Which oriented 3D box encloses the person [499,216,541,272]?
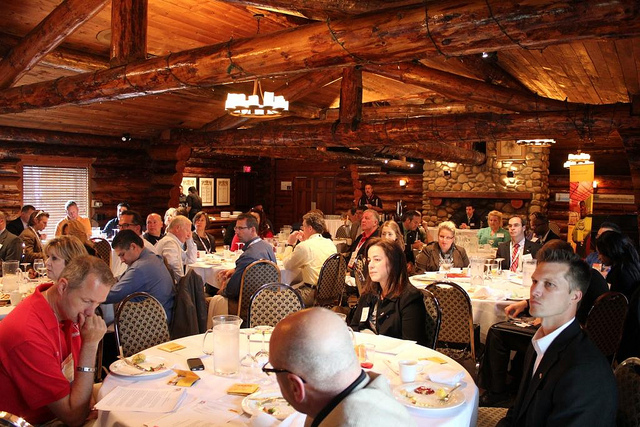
[{"bbox_3d":[3.001,0.473,6.384,0.343,0.954,0.493,29,-30,-18],"label":"person"}]

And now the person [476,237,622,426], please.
[{"bbox_3d":[1.363,0.723,2.397,0.496,1.031,0.518,0,-1,21],"label":"person"}]

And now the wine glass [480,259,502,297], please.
[{"bbox_3d":[2.013,0.761,5.138,0.290,0.315,0.926,1,6,22],"label":"wine glass"}]

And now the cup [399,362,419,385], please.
[{"bbox_3d":[0.545,0.968,2.541,0.137,0.087,0.087,8,-11,-44],"label":"cup"}]

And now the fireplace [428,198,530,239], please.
[{"bbox_3d":[5.250,-0.031,14.477,3.023,1.007,0.868,-1,-1,36],"label":"fireplace"}]

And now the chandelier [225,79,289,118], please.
[{"bbox_3d":[-0.976,-1.848,6.797,0.911,0.480,0.888,0,-1,0],"label":"chandelier"}]

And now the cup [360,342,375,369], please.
[{"bbox_3d":[0.300,0.921,2.742,0.108,0.121,0.129,0,0,-11],"label":"cup"}]

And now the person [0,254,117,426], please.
[{"bbox_3d":[-1.578,0.774,2.527,0.506,1.008,0.309,0,-1,7],"label":"person"}]

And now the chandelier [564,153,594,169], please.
[{"bbox_3d":[7.537,-1.533,12.373,0.569,0.249,0.540,0,0,12],"label":"chandelier"}]

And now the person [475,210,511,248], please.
[{"bbox_3d":[3.864,0.353,9.482,0.876,0.771,0.483,1,-3,45],"label":"person"}]

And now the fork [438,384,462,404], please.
[{"bbox_3d":[0.733,1.000,2.407,0.051,0.037,0.290,0,3,26],"label":"fork"}]
